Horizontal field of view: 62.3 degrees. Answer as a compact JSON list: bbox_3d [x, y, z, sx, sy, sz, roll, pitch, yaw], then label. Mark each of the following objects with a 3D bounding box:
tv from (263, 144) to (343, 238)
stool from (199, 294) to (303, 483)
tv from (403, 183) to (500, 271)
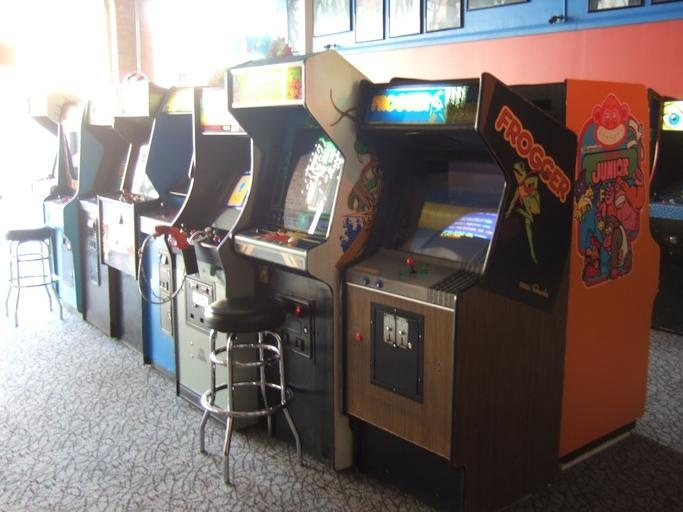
[{"bbox_3d":[-0.208,-0.367,3.250,0.057,0.559,0.450,17,-2,-41],"label":"tv"},{"bbox_3d":[-0.549,0.738,3.327,0.658,0.948,0.682,1,5,17],"label":"stool"},{"bbox_3d":[0.589,-0.123,2.949,0.301,0.429,0.547,14,2,-45],"label":"tv"}]
